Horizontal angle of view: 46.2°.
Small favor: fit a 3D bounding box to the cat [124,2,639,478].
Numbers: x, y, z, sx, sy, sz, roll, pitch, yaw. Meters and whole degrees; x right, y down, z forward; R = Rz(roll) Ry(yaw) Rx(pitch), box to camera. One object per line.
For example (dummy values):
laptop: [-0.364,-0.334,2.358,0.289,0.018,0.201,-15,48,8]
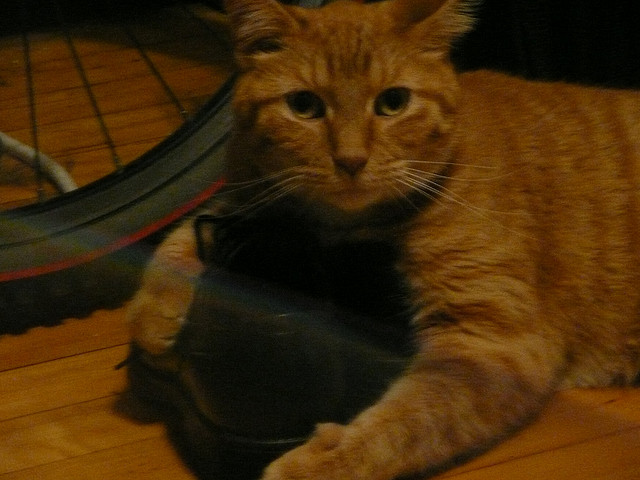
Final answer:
cat: [0.215,-0.002,1.825,1.279,1.134,0.641,2,25,-11]
